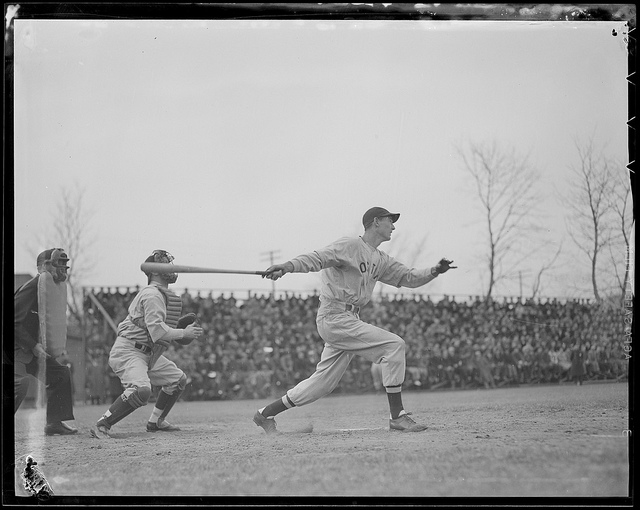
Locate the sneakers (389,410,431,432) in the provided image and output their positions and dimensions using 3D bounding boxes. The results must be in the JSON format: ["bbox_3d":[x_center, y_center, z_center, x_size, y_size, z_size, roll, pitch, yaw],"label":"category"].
[{"bbox_3d":[0.829,1.543,13.368,0.404,0.182,0.151,-1,-4,2],"label":"sneakers"}]

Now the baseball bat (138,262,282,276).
[{"bbox_3d":[-1.018,0.142,12.281,1.168,0.133,0.126,2,-8,4],"label":"baseball bat"}]

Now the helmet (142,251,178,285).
[{"bbox_3d":[-1.476,0.144,13.416,0.279,0.308,0.232,2,1,-27],"label":"helmet"}]

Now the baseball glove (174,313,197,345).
[{"bbox_3d":[-1.294,0.739,13.964,0.146,0.343,0.138,9,-1,-5],"label":"baseball glove"}]

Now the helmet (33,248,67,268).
[{"bbox_3d":[-2.572,0.034,13.971,0.364,0.146,0.267,-9,-6,26],"label":"helmet"}]

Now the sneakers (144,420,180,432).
[{"bbox_3d":[-1.493,1.623,13.848,0.319,0.135,0.120,1,-4,-8],"label":"sneakers"}]

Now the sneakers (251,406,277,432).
[{"bbox_3d":[-0.500,1.549,13.541,0.320,0.140,0.107,40,-2,14],"label":"sneakers"}]

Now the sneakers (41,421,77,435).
[{"bbox_3d":[-2.453,1.619,13.694,0.295,0.137,0.126,1,0,-8],"label":"sneakers"}]
